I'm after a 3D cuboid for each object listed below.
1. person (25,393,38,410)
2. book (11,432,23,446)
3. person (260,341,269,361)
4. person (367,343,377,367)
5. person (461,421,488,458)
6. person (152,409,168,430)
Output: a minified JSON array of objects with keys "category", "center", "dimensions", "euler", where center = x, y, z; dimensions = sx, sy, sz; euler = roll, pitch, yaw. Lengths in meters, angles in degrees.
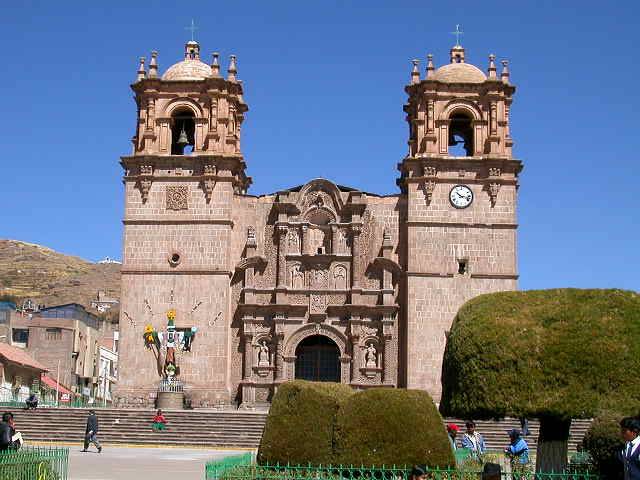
[{"category":"person","center":[-14.065,7.854,69.195],"dimensions":[0.544,0.983,1.343],"euler":[4,-15,-12]},{"category":"book","center":[-10.647,6.907,49.344],"dimensions":[0.114,0.427,0.428],"euler":[12,2,30]},{"category":"person","center":[-2.802,5.712,72.563],"dimensions":[0.519,1.079,0.199],"euler":[2,-15,-5]},{"category":"person","center":[2.687,5.915,72.438],"dimensions":[0.548,1.219,0.173],"euler":[1,-15,1]},{"category":"person","center":[6.110,7.900,56.221],"dimensions":[0.921,1.472,1.689],"euler":[-1,-15,6]},{"category":"person","center":[-7.514,8.457,66.621],"dimensions":[0.804,1.352,0.485],"euler":[2,-56,-7]}]
